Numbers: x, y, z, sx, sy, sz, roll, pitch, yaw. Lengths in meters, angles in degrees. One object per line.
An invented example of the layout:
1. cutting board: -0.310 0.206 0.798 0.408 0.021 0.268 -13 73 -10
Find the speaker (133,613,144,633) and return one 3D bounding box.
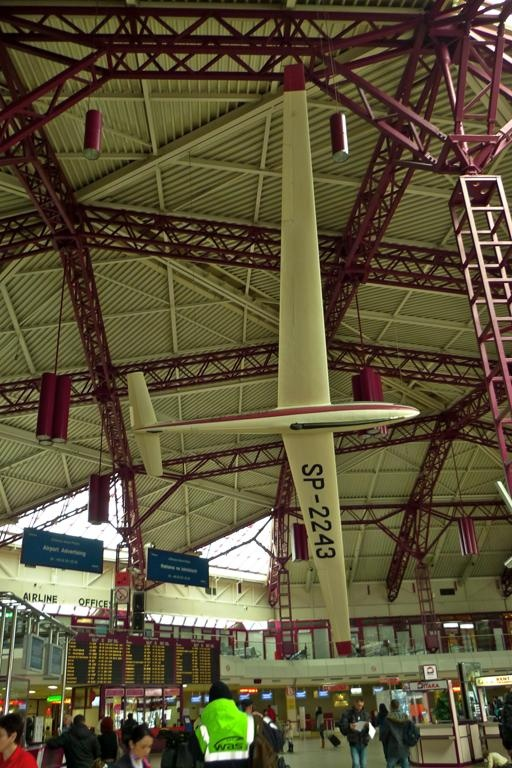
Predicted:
1. speaker: -4.374 8.769 22.193 0.420 0.565 0.320 3 -28 -12

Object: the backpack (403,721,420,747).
1. backpack: 2.364 5.360 9.228 0.227 0.385 0.382 -9 -27 11
